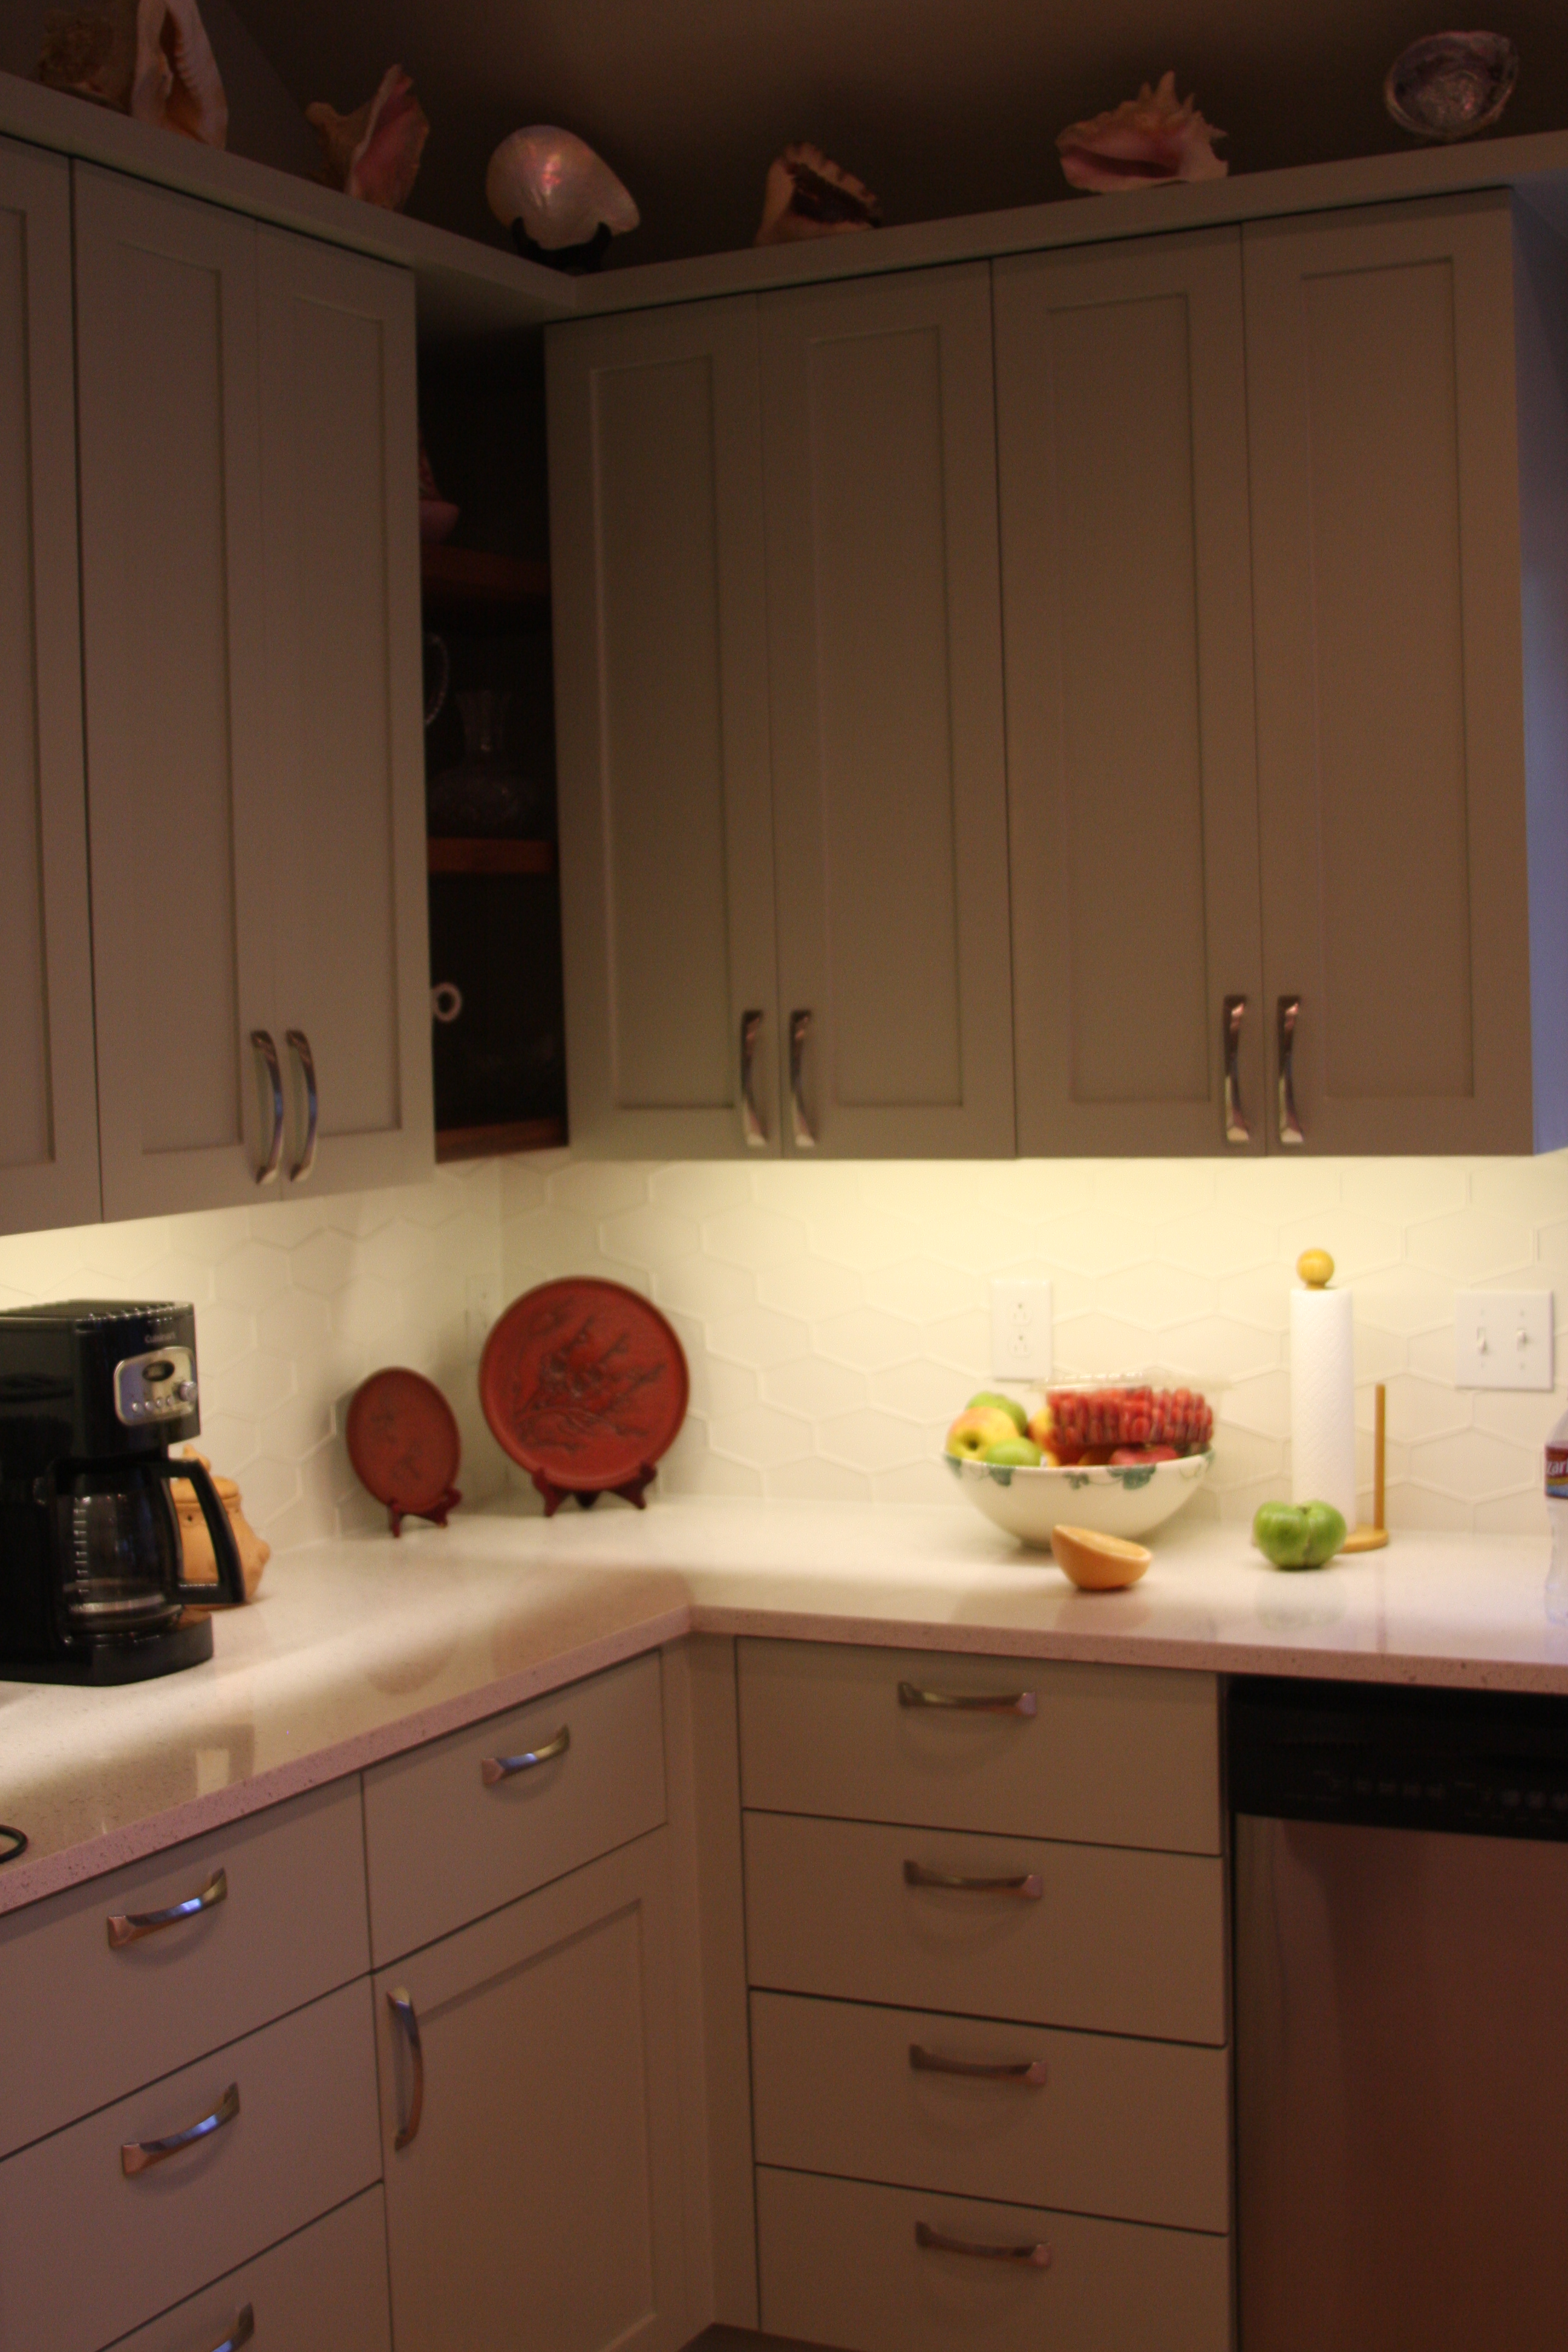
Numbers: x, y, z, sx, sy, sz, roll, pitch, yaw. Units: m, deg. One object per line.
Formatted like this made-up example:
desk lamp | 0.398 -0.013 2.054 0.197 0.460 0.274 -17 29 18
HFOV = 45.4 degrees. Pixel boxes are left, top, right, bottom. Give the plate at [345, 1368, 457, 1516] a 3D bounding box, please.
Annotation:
plate | -0.471 0.341 2.338 0.070 0.201 0.174 -2 5 32

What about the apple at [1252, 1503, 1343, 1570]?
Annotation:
apple | 0.537 0.371 1.930 0.072 0.057 0.071 -2 -2 -6

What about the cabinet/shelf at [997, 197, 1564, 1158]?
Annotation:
cabinet/shelf | 0.550 -0.529 2.076 0.539 1.015 0.353 2 26 21

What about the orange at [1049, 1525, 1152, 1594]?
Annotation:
orange | 0.314 0.388 1.866 0.071 0.043 0.071 1 1 -6

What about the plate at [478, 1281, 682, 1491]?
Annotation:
plate | -0.257 0.275 2.415 0.273 0.341 0.048 0 -4 -3
